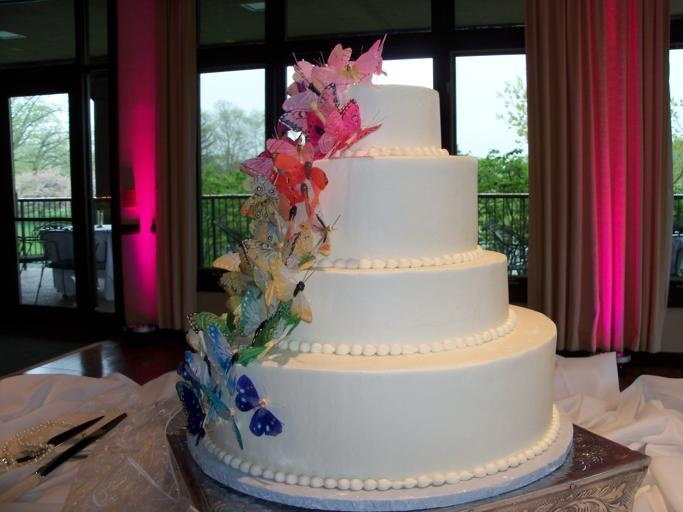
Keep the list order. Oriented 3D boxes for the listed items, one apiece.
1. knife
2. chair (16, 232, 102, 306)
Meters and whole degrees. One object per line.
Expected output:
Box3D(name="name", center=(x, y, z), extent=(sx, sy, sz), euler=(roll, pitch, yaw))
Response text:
Box3D(name="knife", center=(-0.960, 0.711, 1.834), extent=(0.063, 0.052, 0.473), euler=(-26, 1, 43))
Box3D(name="chair", center=(-2.687, 0.108, 5.368), extent=(0.763, 0.762, 0.664), euler=(1, -2, 3))
